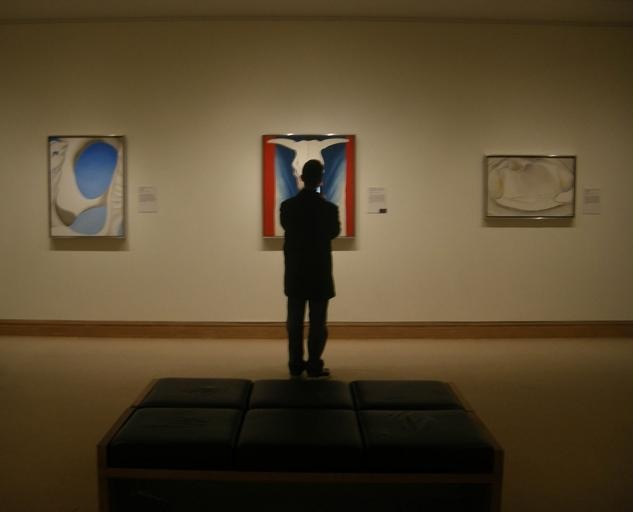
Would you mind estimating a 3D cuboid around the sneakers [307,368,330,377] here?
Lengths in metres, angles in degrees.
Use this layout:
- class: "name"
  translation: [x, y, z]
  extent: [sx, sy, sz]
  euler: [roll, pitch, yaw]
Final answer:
- class: "sneakers"
  translation: [0.011, 1.232, 6.055]
  extent: [0.184, 0.089, 0.106]
  euler: [1, 14, -10]

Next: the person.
- class: "person"
  translation: [-0.088, 0.152, 5.959]
  extent: [0.591, 2.198, 0.412]
  euler: [0, 13, 1]
